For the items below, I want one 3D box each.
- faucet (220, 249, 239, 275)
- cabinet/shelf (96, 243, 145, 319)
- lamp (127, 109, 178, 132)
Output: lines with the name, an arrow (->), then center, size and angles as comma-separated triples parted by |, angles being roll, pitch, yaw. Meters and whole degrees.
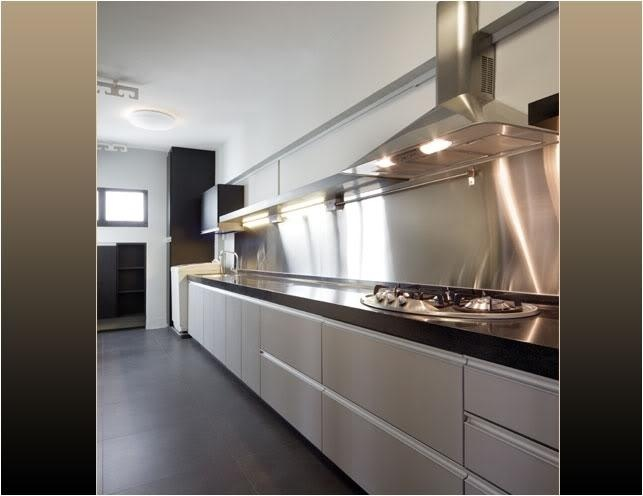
faucet -> -1.206, 0.175, 5.997 | 0.177, 0.312, 0.835 | -2, 2, -16
cabinet/shelf -> -2.833, 0.461, 6.565 | 0.651, 1.073, 0.362 | -3, 4, -37
lamp -> -1.768, -1.371, 4.814 | 0.488, 0.155, 0.413 | -2, 2, -23
